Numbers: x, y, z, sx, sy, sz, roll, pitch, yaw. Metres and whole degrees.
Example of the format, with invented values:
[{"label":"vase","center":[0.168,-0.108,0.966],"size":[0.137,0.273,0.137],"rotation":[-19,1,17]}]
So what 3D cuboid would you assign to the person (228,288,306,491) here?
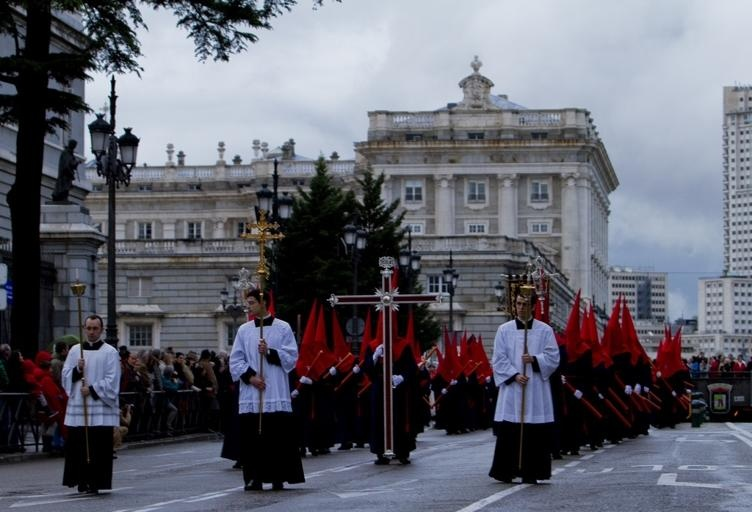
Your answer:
[{"label":"person","center":[-2.069,2.525,32.333],"size":[1.349,3.652,1.112],"rotation":[-4,-5,6]}]

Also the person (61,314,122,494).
[{"label":"person","center":[-5.414,2.803,32.525],"size":[1.086,3.200,0.924],"rotation":[-2,-10,6]}]

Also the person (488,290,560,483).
[{"label":"person","center":[2.822,2.464,32.668],"size":[1.285,3.394,1.065],"rotation":[0,1,8]}]
